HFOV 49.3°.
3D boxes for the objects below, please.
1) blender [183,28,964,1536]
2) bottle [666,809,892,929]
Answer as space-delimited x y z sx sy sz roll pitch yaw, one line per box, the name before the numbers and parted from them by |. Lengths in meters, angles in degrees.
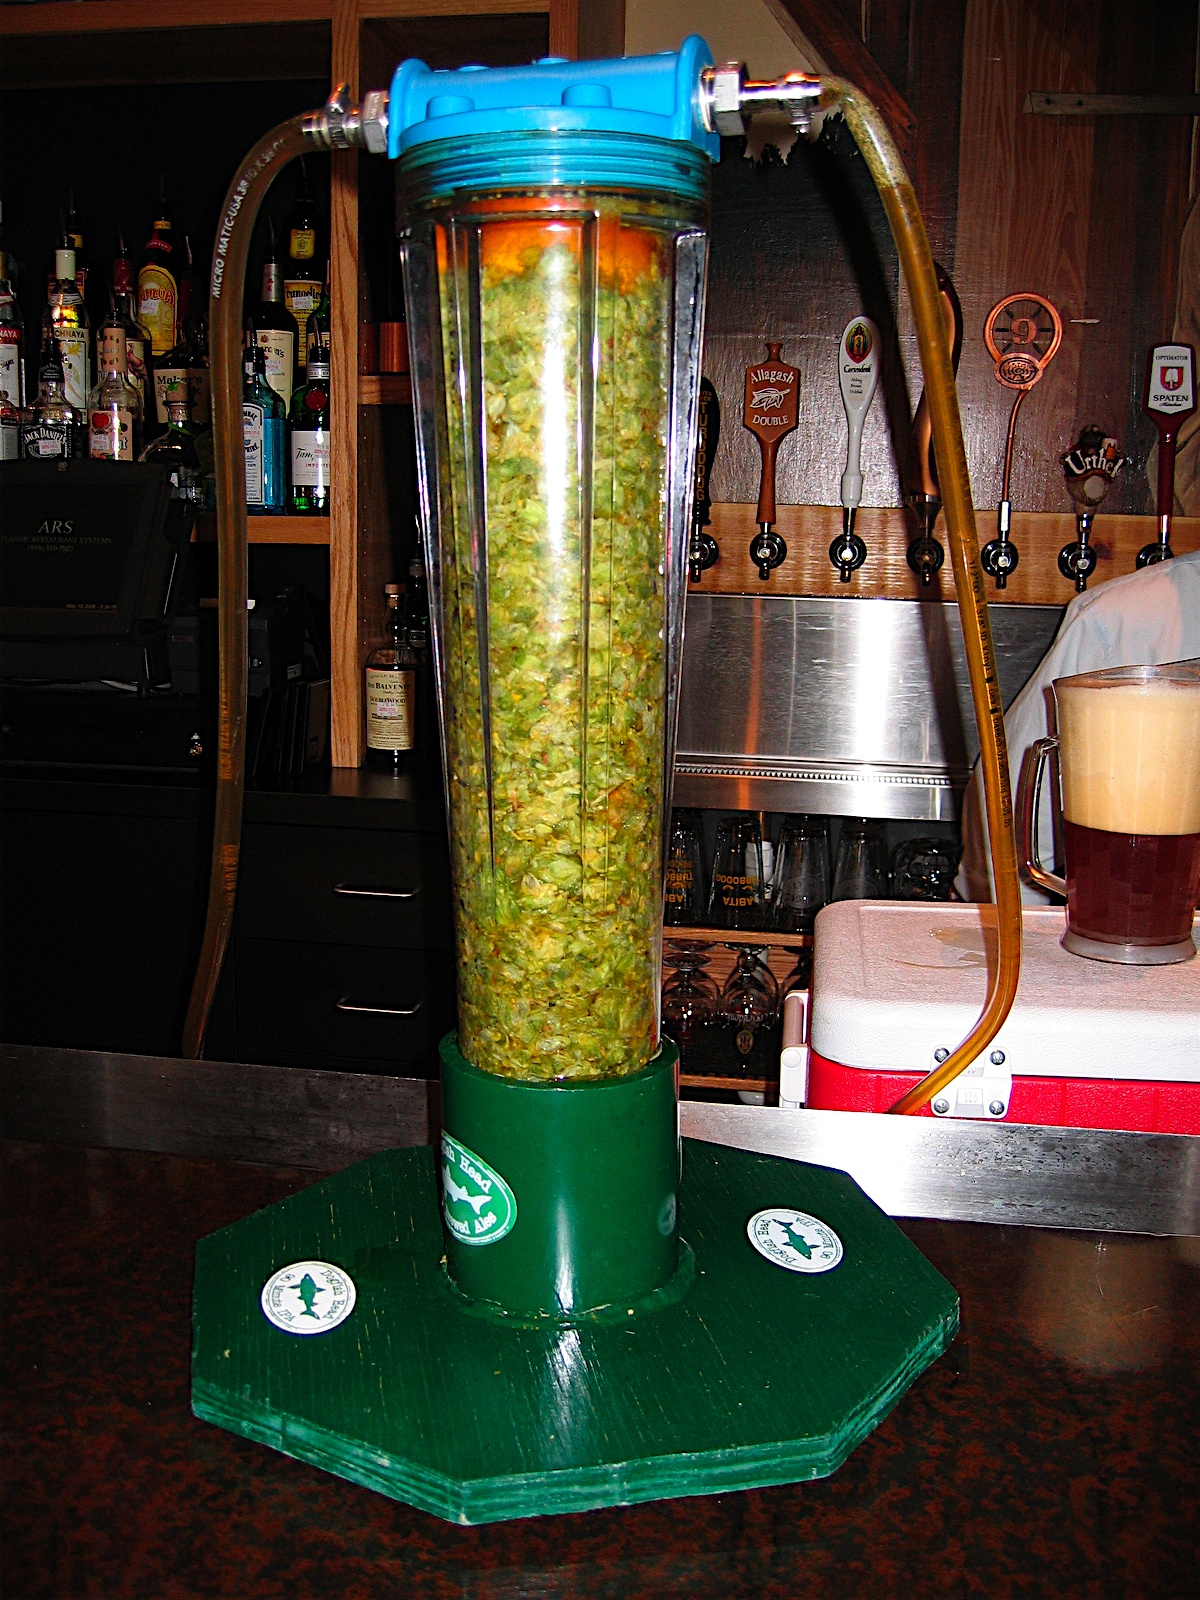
blender | -0.019 -0.028 0.481 0.298 0.446 0.269 0 1 -24
bottle | 0.304 0.092 2.380 0.362 0.341 0.214 -3 9 -5
